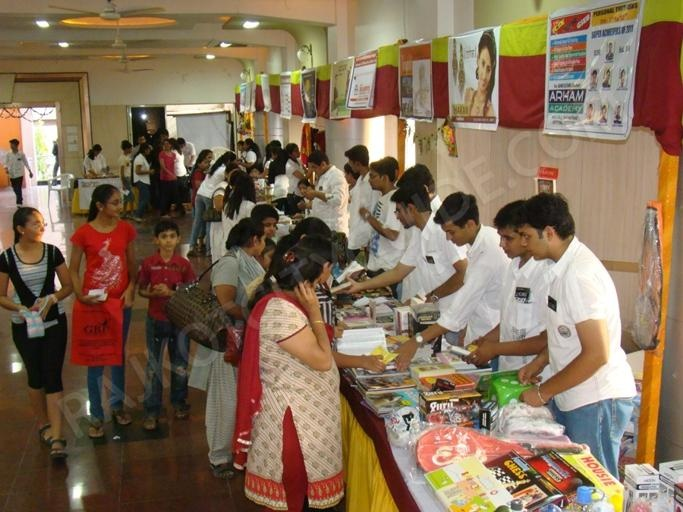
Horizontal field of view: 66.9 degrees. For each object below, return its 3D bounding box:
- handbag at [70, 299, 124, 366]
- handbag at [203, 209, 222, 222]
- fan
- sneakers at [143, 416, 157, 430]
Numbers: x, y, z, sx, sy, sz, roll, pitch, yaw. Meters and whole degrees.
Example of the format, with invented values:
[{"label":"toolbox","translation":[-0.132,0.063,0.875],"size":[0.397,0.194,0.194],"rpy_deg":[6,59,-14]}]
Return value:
[{"label":"handbag","translation":[-1.882,0.611,3.994],"size":[0.369,0.530,0.197],"rpy_deg":[5,-25,-34]},{"label":"handbag","translation":[-1.714,-0.528,6.908],"size":[0.170,0.043,0.182],"rpy_deg":[7,37,-9]},{"label":"fan","translation":[-5.619,-5.141,12.181],"size":[2.365,1.877,2.449],"rpy_deg":[-2,10,-7]},{"label":"sneakers","translation":[-1.559,1.364,4.219],"size":[0.054,0.073,0.159],"rpy_deg":[2,7,-10]}]
